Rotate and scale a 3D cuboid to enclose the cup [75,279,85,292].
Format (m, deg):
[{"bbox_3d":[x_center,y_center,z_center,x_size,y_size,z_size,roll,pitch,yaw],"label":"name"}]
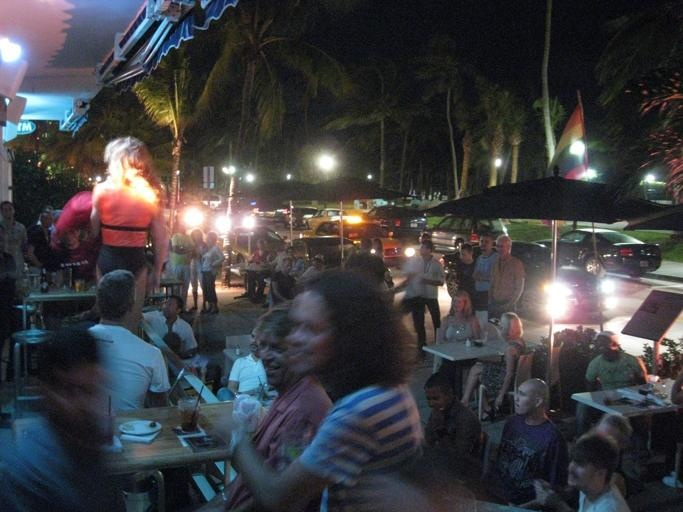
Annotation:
[{"bbox_3d":[-4.060,0.448,8.420,0.186,0.219,0.183,1,0,0],"label":"cup"}]

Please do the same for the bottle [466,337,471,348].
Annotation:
[{"bbox_3d":[1.955,1.328,8.337,0.087,0.154,0.096,1,3,0],"label":"bottle"}]

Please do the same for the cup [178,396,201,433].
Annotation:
[{"bbox_3d":[-1.105,1.131,3.909,0.136,0.232,0.231,2,0,-13],"label":"cup"}]

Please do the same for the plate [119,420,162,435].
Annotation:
[{"bbox_3d":[-1.422,1.200,3.794,0.259,0.052,0.225,2,0,-36],"label":"plate"}]

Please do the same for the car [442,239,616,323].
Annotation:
[{"bbox_3d":[4.388,0.621,12.495,1.463,1.205,3.395,-5,13,-34],"label":"car"}]

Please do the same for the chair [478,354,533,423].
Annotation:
[{"bbox_3d":[2.402,1.889,7.895,0.725,0.991,0.556,2,0,18],"label":"chair"}]

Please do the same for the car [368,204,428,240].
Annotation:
[{"bbox_3d":[3.253,-2.000,31.257,1.598,1.305,3.643,-1,9,-14],"label":"car"}]

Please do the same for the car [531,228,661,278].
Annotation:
[{"bbox_3d":[8.400,-0.052,17.539,1.351,0.970,3.002,-6,15,-40],"label":"car"}]

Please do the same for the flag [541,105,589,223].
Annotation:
[{"bbox_3d":[3.659,-1.853,8.590,0.535,1.713,0.404,2,0,24],"label":"flag"}]

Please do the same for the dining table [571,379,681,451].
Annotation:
[{"bbox_3d":[3.373,1.656,6.313,1.428,0.234,0.743,2,0,-23],"label":"dining table"}]
